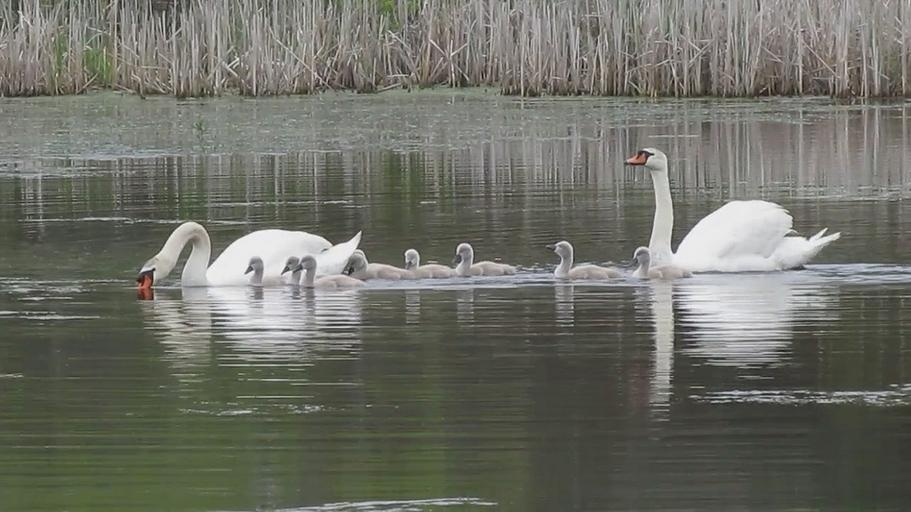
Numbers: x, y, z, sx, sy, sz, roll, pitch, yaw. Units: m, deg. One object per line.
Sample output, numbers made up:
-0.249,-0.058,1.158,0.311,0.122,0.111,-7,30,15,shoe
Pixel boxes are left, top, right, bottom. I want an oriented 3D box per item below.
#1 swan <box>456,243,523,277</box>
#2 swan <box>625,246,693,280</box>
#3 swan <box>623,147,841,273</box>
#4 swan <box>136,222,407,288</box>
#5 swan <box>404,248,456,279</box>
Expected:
0.368,0.110,18.554,0.927,0.478,0.382,-3,-3,-39,swan
2.596,0.118,18.220,1.020,0.457,0.426,-5,10,-39,swan
3.590,-0.611,18.469,2.257,1.603,1.008,0,1,8,swan
-2.704,-0.028,17.996,2.633,0.814,0.662,-1,1,-10,swan
-0.334,0.143,18.424,0.695,0.336,0.338,1,-5,0,swan
